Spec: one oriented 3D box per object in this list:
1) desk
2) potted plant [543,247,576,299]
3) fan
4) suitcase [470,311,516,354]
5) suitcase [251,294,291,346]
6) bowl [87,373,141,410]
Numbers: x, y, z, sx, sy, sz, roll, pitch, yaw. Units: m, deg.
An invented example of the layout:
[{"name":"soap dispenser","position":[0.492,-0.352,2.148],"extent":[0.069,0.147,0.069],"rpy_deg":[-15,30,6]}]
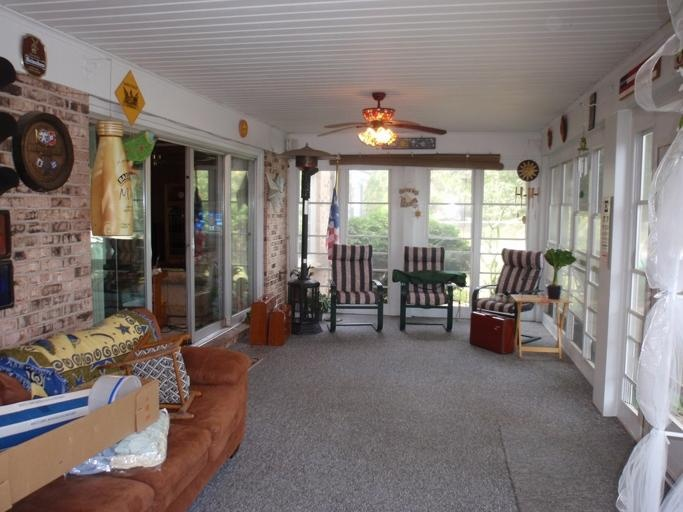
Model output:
[{"name":"desk","position":[2.496,0.815,5.818],"extent":[0.704,0.846,0.779],"rpy_deg":[0,2,3]},{"name":"potted plant","position":[2.599,0.213,5.501],"extent":[0.316,0.626,0.652],"rpy_deg":[5,9,27]},{"name":"fan","position":[0.466,-1.672,5.394],"extent":[0.710,0.288,0.713],"rpy_deg":[3,-1,-22]},{"name":"suitcase","position":[1.881,0.953,5.697],"extent":[0.155,0.407,0.458],"rpy_deg":[-4,7,-36]},{"name":"suitcase","position":[-0.892,0.813,6.139],"extent":[0.488,0.635,0.680],"rpy_deg":[-1,0,3]},{"name":"bowl","position":[-0.941,0.544,1.936],"extent":[0.113,0.156,0.155],"rpy_deg":[3,-26,19]}]
